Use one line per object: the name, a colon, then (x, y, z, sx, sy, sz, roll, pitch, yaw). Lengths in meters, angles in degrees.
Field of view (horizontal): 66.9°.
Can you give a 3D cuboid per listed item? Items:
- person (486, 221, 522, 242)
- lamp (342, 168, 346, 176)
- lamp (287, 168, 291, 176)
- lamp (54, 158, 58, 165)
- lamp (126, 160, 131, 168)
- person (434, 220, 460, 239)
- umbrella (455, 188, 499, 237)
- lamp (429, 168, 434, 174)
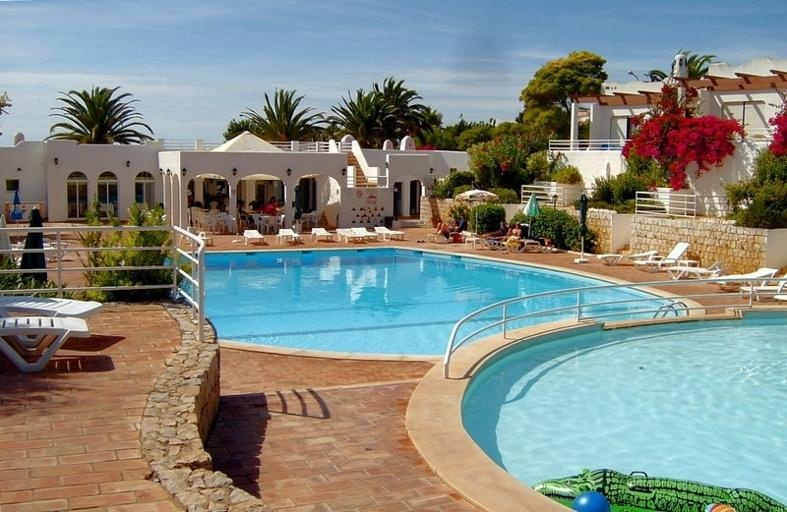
person: (4.998, -1.114, 26.716, 1.412, 0.686, 0.877, -1, 0, -32)
lamp: (-2.704, -4.557, 32.265, 0.261, 0.383, 0.102, 2, -3, -4)
lamp: (-5.517, -4.410, 31.502, 0.184, 0.352, 0.122, 1, -9, -8)
lamp: (-19.363, -5.409, 34.214, 0.062, 0.390, 0.233, 4, 10, 37)
lamp: (-15.814, -5.432, 35.520, 0.269, 0.403, 0.104, -7, 9, -32)
person: (2.819, -1.172, 29.216, 0.671, 0.753, 1.435, 15, 2, 43)
umbrella: (3.996, -2.204, 29.884, 2.527, 2.424, 2.304, -1, 6, -5)
lamp: (2.396, -5.396, 37.916, 0.397, 0.509, 0.162, 0, -6, -6)
